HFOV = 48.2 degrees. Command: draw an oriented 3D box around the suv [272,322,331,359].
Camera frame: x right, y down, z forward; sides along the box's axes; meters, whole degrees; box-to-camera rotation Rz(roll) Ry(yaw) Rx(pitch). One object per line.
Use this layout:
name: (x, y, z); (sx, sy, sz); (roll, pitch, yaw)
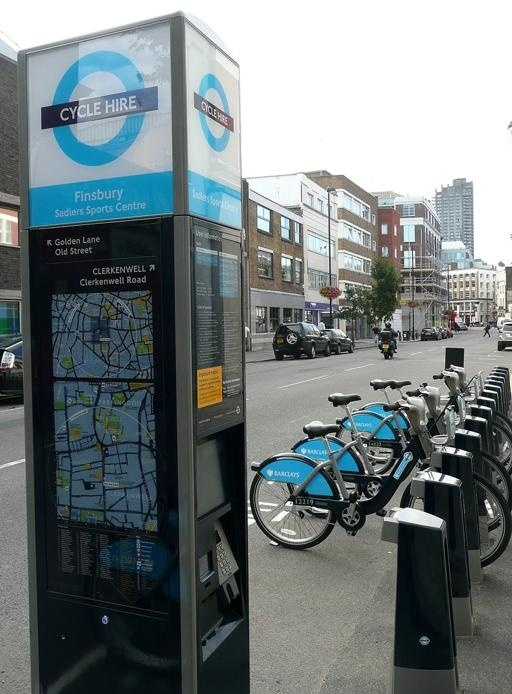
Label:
suv: (2.546, -0.377, 31.221); (1.516, 1.384, 3.246); (0, 7, 23)

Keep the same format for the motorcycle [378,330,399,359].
motorcycle: (6.829, -0.277, 29.275); (0.719, 1.006, 1.724); (1, 10, 15)

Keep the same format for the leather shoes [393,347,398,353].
leather shoes: (7.510, 0.186, 30.749); (0.214, 0.292, 0.559); (7, -7, -7)

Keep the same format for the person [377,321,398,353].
person: (6.775, -0.442, 29.423); (0.911, 1.099, 1.771); (-1, -1, 12)

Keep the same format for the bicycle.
bicycle: (0.960, 0.906, 4.618); (1.807, 1.207, 1.138); (-2, 1, 16)
